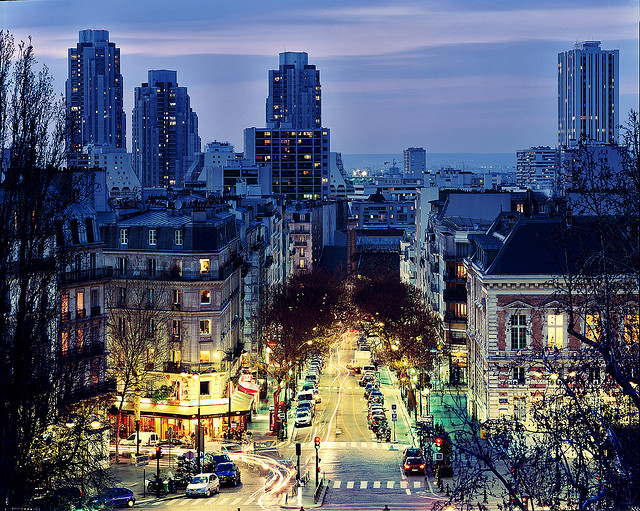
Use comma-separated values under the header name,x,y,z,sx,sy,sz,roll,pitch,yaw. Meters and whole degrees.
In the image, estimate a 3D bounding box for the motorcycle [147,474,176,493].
name,x,y,z,sx,sy,sz,roll,pitch,yaw
motorcycle,-11.175,15.876,92.157,1.489,1.293,3.189,-3,-7,15
